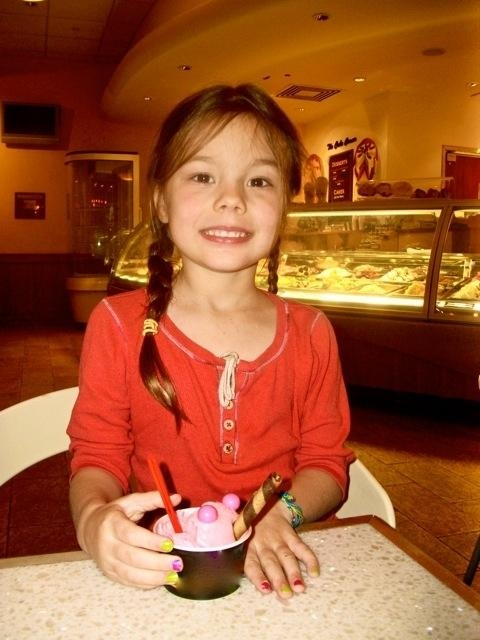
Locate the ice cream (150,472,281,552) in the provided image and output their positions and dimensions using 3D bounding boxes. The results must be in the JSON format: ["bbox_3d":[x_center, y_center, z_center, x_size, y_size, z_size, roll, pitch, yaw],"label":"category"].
[{"bbox_3d":[-0.028,0.183,0.524,0.131,0.050,0.086,-35,-35,17],"label":"ice cream"}]
